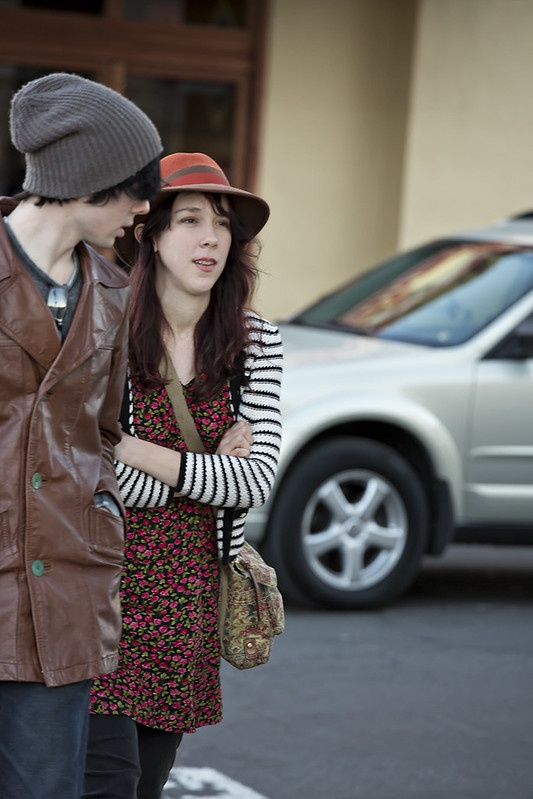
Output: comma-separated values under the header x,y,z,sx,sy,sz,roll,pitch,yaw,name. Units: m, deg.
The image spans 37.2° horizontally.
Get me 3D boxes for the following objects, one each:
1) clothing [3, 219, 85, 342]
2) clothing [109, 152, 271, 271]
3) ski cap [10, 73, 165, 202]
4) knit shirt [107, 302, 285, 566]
x,y,z,sx,sy,sz,roll,pitch,yaw,name
-0.335,-0.178,1.192,0.146,0.167,0.098,-8,8,-22,clothing
-0.153,-0.501,1.941,0.347,0.157,0.333,-2,-17,-18,clothing
-0.279,-0.399,1.211,0.235,0.204,0.149,7,7,-8,ski cap
-0.223,0.019,1.869,0.386,0.178,0.453,6,45,-5,knit shirt
